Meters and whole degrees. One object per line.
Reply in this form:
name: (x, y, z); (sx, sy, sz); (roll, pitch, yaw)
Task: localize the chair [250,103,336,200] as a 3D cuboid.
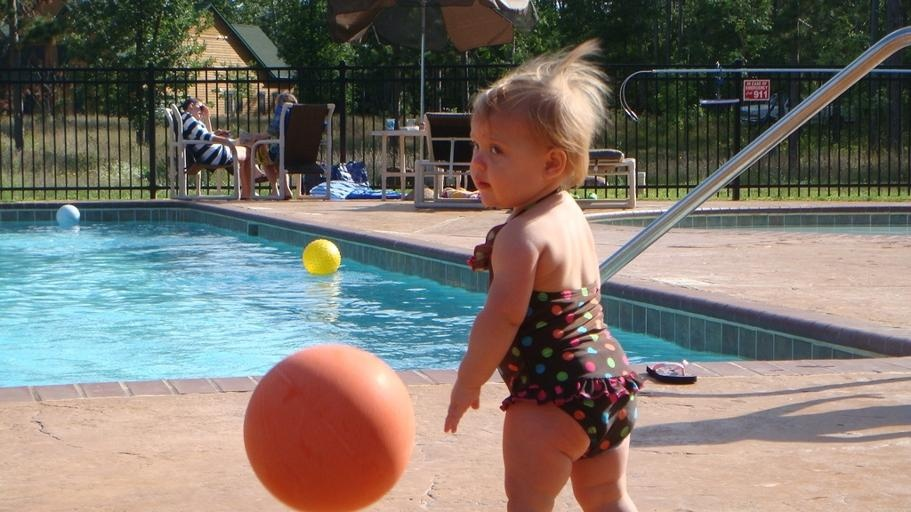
chair: (-2.696, -1.689, 17.030); (1.389, 2.024, 1.519); (-2, 7, -31)

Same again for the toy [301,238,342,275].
toy: (-1.542, 0.021, 12.062); (0.421, 0.440, 0.385); (6, -4, -14)

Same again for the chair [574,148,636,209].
chair: (2.283, -1.230, 15.603); (1.094, 0.926, 1.070); (0, -2, 0)

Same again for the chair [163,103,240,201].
chair: (-3.955, -1.727, 16.869); (1.235, 1.549, 0.885); (0, 14, -9)

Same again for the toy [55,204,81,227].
toy: (-5.794, -0.593, 15.885); (0.300, 0.302, 0.434); (0, 5, -24)
